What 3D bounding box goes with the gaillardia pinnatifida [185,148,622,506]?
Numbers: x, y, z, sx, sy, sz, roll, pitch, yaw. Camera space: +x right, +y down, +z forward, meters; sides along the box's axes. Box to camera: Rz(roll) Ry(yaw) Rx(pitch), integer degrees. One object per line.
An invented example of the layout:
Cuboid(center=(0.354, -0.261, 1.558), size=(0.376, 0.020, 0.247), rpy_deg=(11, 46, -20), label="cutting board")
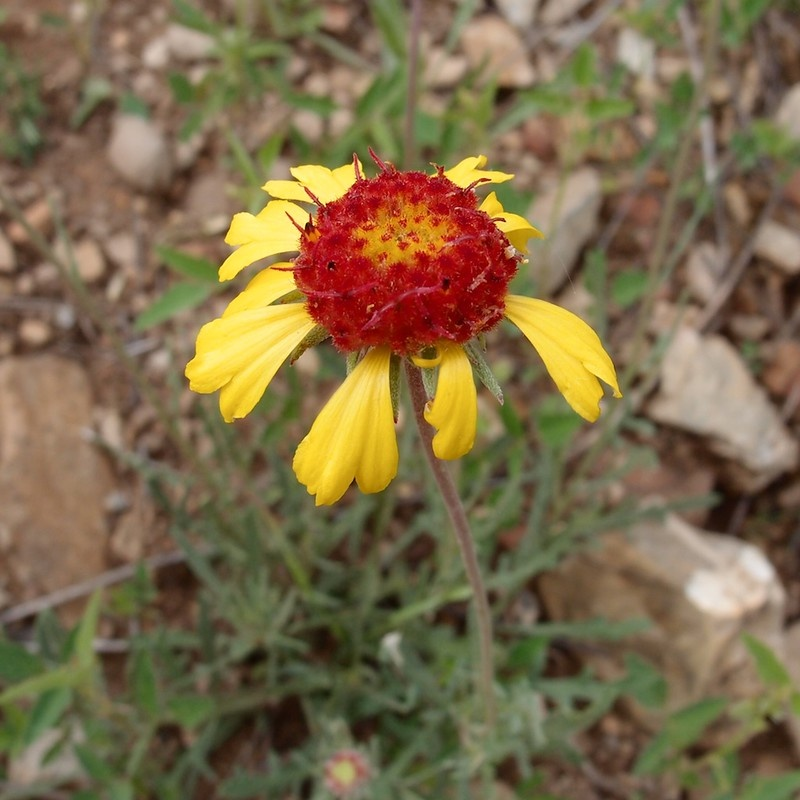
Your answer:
Cuboid(center=(-0.014, -0.140, 1.480), size=(0.711, 0.664, 0.187), rpy_deg=(-5, 58, 7), label="gaillardia pinnatifida")
